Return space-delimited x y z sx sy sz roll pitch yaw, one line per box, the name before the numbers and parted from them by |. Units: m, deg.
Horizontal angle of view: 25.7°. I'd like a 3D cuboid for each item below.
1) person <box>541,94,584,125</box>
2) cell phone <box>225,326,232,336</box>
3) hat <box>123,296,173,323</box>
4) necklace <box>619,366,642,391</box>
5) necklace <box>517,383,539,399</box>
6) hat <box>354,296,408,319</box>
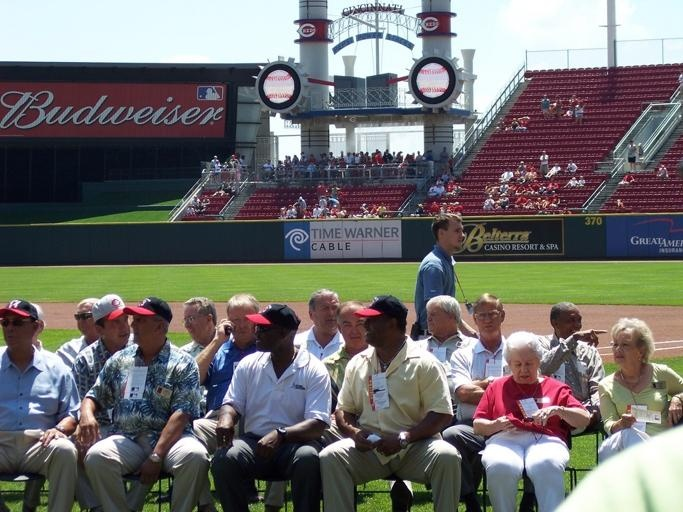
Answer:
person | 9.309 -6.102 62.705 1.485 1.582 1.142 2 3 11
cell phone | -2.285 1.536 30.612 0.125 0.176 0.051 -12 3 -28
hat | -3.809 1.080 29.894 0.741 0.387 0.495 15 -9 -11
necklace | 5.783 2.409 29.768 0.336 0.489 0.178 5 2 10
necklace | 3.733 2.680 29.571 0.291 0.302 0.290 -1 2 -12
hat | 0.832 1.032 29.736 0.970 0.480 0.424 1 -5 2
